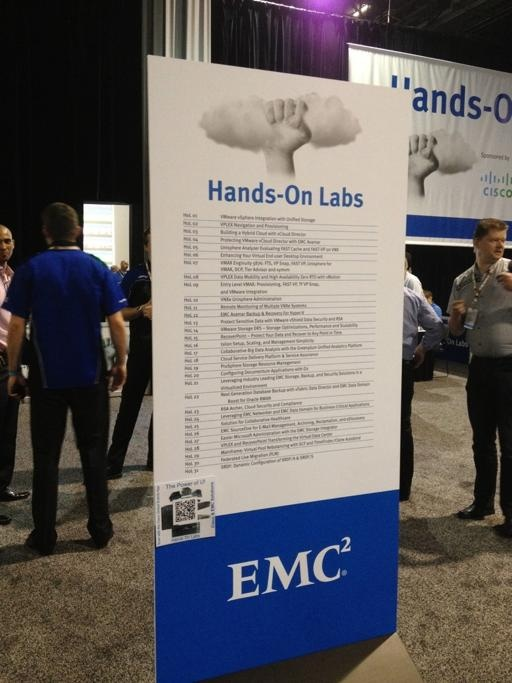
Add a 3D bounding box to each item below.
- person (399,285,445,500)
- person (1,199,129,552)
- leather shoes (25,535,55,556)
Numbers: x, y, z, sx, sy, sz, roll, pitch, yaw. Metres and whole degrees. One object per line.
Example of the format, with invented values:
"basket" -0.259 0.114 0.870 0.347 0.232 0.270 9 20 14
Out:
"person" 0.814 0.284 3.044 0.187 1.088 0.503 2 5 17
"person" -0.774 0.159 2.523 0.464 1.416 0.263 -1 5 -15
"leather shoes" -0.895 0.848 2.561 0.107 0.084 0.068 9 11 23
